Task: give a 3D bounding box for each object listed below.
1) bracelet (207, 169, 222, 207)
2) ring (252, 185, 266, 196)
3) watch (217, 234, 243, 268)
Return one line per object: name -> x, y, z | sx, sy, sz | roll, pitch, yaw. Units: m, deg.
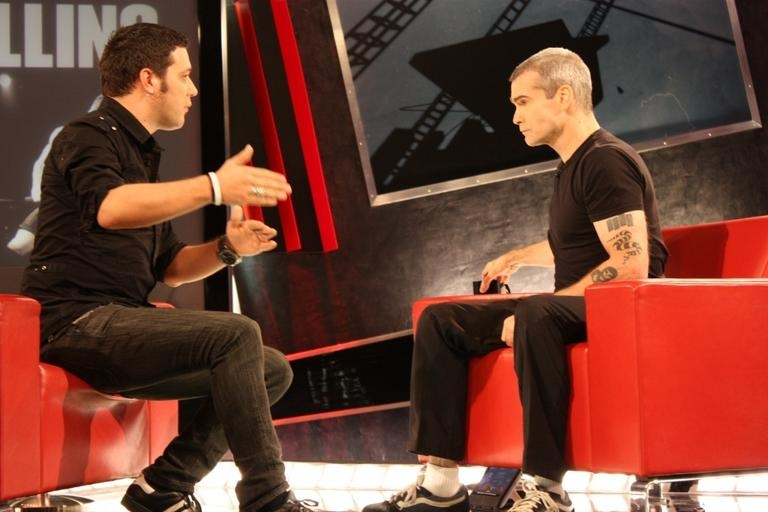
bracelet -> -0.608, -0.246, 2.612 | 0.034, 0.095, 0.082 | -9, -36, -10
ring -> -0.444, -0.229, 2.606 | 0.043, 0.031, 0.016 | 34, -2, 15
watch -> -0.632, -0.016, 3.039 | 0.112, 0.114, 0.109 | 19, -3, 3
